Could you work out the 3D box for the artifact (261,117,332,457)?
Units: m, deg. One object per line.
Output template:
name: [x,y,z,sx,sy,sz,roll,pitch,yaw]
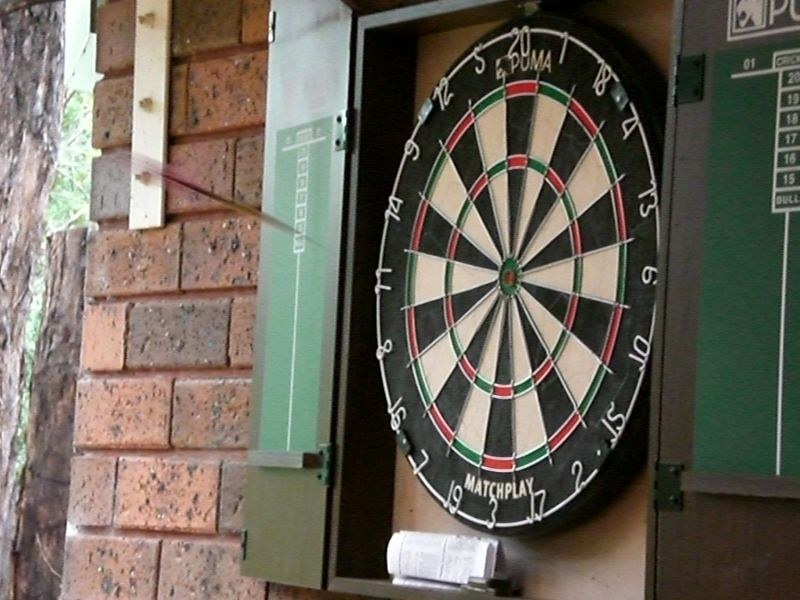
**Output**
artifact: [-0.229,-0.031,2.480,0.193,0.694,0.045,-4,-7,39]
